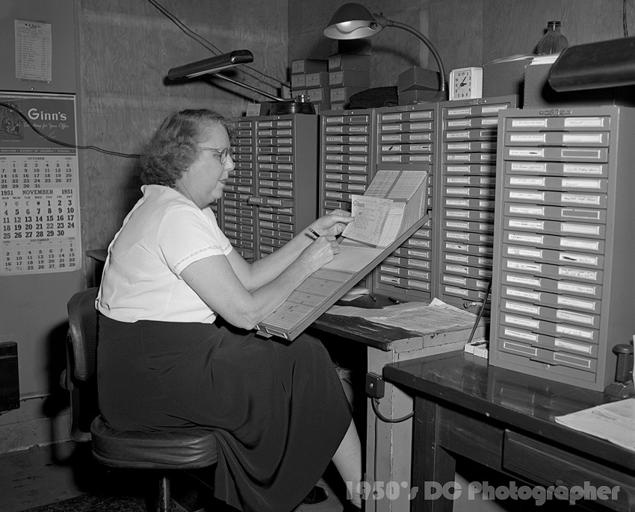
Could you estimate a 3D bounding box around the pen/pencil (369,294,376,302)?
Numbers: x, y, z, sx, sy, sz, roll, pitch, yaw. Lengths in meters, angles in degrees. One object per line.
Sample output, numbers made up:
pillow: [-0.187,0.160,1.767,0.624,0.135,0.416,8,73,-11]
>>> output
pen/pencil: [0.237,0.180,2.268,0.025,0.009,0.018,30,18,38]

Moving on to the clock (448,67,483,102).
clock: [0.545,-0.654,2.040,0.139,0.124,0.052,-13,24,-24]

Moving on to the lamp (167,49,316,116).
lamp: [-0.409,-0.926,3.012,0.794,0.419,0.280,-6,2,10]
